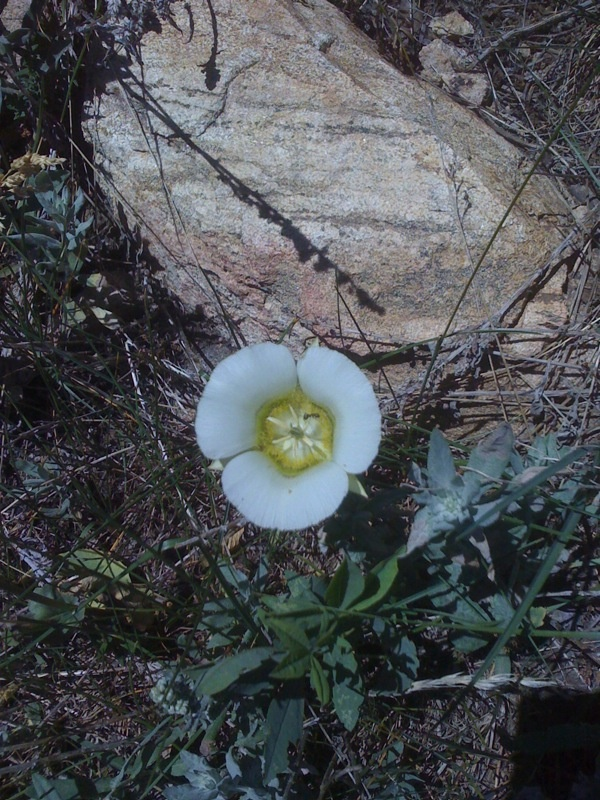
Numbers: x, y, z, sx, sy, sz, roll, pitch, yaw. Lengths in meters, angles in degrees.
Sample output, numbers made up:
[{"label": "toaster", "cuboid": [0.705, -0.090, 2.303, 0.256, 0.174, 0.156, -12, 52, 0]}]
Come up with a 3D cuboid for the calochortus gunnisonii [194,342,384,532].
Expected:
[{"label": "calochortus gunnisonii", "cuboid": [-0.028, 0.101, 2.278, 0.553, 0.335, 0.578, -28, 85, -5]}]
